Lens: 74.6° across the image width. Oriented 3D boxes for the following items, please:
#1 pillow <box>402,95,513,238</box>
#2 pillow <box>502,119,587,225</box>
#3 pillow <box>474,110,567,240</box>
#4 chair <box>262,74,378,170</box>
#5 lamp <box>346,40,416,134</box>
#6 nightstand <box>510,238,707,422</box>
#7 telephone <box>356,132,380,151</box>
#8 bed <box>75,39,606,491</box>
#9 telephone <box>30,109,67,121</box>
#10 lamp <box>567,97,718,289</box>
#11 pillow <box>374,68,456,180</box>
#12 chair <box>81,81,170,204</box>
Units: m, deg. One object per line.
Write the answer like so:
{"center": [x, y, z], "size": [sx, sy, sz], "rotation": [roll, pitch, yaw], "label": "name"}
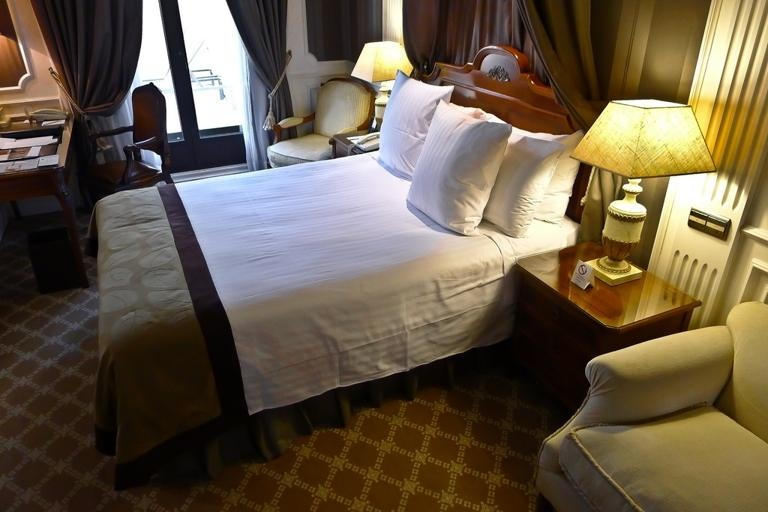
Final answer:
{"center": [0.417, -0.578, 3.211], "size": [0.378, 0.668, 0.763], "rotation": [-14, 31, -22], "label": "pillow"}
{"center": [0.935, -0.475, 2.946], "size": [0.479, 0.505, 0.146], "rotation": [20, 16, 42], "label": "pillow"}
{"center": [0.818, -0.439, 2.968], "size": [0.210, 0.591, 0.565], "rotation": [14, 11, -47], "label": "pillow"}
{"center": [-0.603, -1.269, 4.783], "size": [0.628, 0.894, 0.687], "rotation": [34, 50, 25], "label": "chair"}
{"center": [0.096, -1.570, 4.532], "size": [0.602, 0.939, 0.613], "rotation": [16, 33, 23], "label": "lamp"}
{"center": [1.189, 0.482, 2.940], "size": [0.673, 0.764, 0.817], "rotation": [-8, 27, -13], "label": "nightstand"}
{"center": [-0.109, -0.953, 4.251], "size": [0.208, 0.073, 0.153], "rotation": [-27, 35, -9], "label": "telephone"}
{"center": [-0.523, -0.046, 3.313], "size": [2.433, 1.420, 1.874], "rotation": [-15, 27, -25], "label": "bed"}
{"center": [-2.871, -1.205, 4.336], "size": [0.197, 0.056, 0.141], "rotation": [-8, 24, -37], "label": "telephone"}
{"center": [1.369, -0.338, 2.712], "size": [0.624, 0.904, 0.618], "rotation": [-15, 26, -30], "label": "lamp"}
{"center": [0.230, -0.911, 3.524], "size": [0.353, 0.721, 0.779], "rotation": [-13, 39, -19], "label": "pillow"}
{"center": [-2.253, -0.954, 4.318], "size": [0.734, 1.007, 0.705], "rotation": [-2, 26, -14], "label": "chair"}
